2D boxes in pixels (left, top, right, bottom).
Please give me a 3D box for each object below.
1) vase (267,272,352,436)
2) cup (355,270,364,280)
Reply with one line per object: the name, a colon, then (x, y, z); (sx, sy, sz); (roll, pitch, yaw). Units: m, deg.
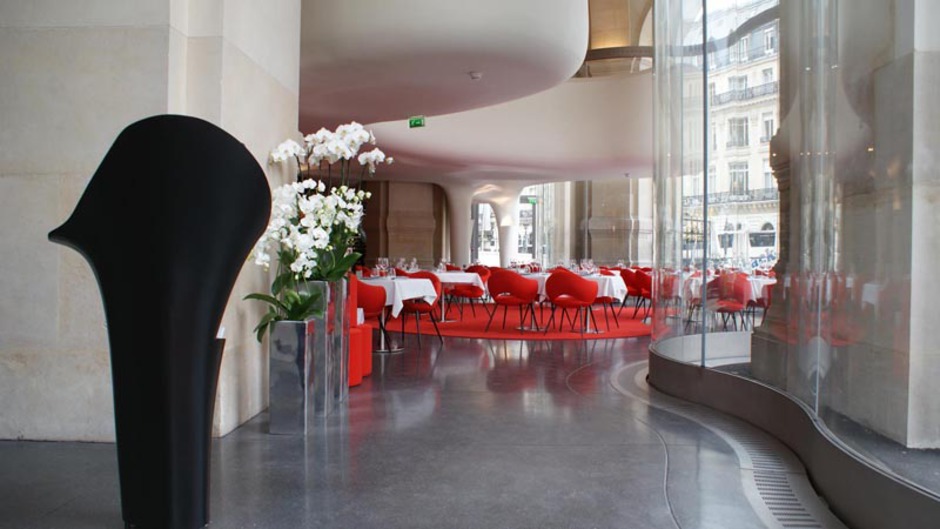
vase: (-1.245, 0.667, 5.199); (0.398, 1.117, 1.195); (0, 0, 9)
cup: (-1.363, 0.120, 8.478); (0.117, 0.131, 0.117); (-1, -1, 0)
